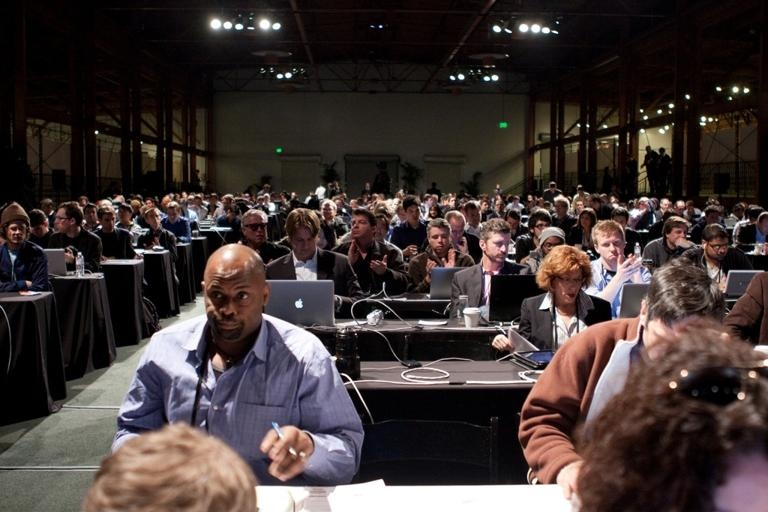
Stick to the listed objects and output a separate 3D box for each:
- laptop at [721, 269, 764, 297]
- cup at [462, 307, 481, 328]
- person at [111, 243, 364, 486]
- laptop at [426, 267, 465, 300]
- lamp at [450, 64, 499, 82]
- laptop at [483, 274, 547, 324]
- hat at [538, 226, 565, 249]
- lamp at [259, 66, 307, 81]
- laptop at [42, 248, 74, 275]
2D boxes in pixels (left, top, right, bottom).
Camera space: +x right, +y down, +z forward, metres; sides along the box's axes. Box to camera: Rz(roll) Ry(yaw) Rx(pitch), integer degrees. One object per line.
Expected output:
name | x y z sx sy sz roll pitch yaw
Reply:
laptop | 3.155 0.240 5.225 0.232 0.179 0.173 0 6 1
cup | 0.719 0.505 4.860 0.136 0.121 0.138 1 2 0
person | -0.598 0.515 2.269 0.920 1.031 0.659 -2 -15 4
laptop | 0.588 0.238 5.599 0.353 0.274 0.266 2 5 3
lamp | 3.876 -7.530 24.567 1.646 0.654 2.075 -4 11 34
laptop | 1.051 0.333 4.768 0.462 0.343 0.343 0 7 6
hat | 1.717 -0.191 6.009 0.214 0.288 0.298 2 8 7
lamp | -4.099 -7.520 24.614 1.728 0.677 1.811 1 6 1
laptop | -3.673 0.072 6.630 0.345 0.276 0.299 1 -3 0
